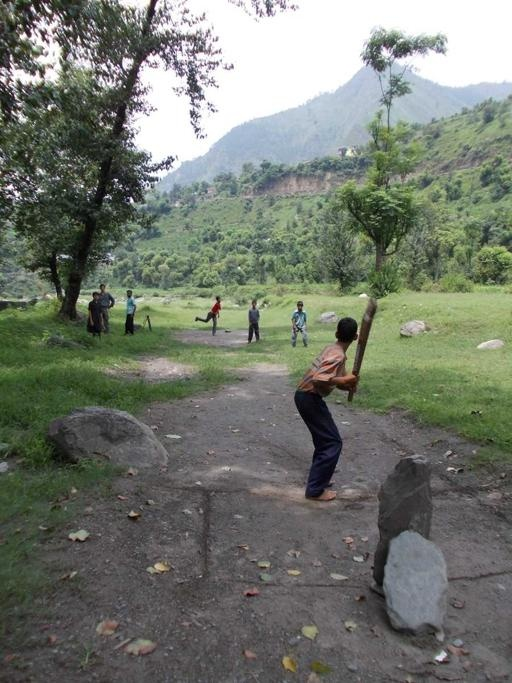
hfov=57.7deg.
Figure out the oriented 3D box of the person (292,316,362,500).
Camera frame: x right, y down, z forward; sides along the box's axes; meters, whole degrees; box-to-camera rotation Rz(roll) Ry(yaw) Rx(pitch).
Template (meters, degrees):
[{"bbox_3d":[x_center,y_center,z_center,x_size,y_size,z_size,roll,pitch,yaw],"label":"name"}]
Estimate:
[{"bbox_3d":[0.795,0.802,5.592,0.674,2.256,0.710,6,9,8],"label":"person"}]
